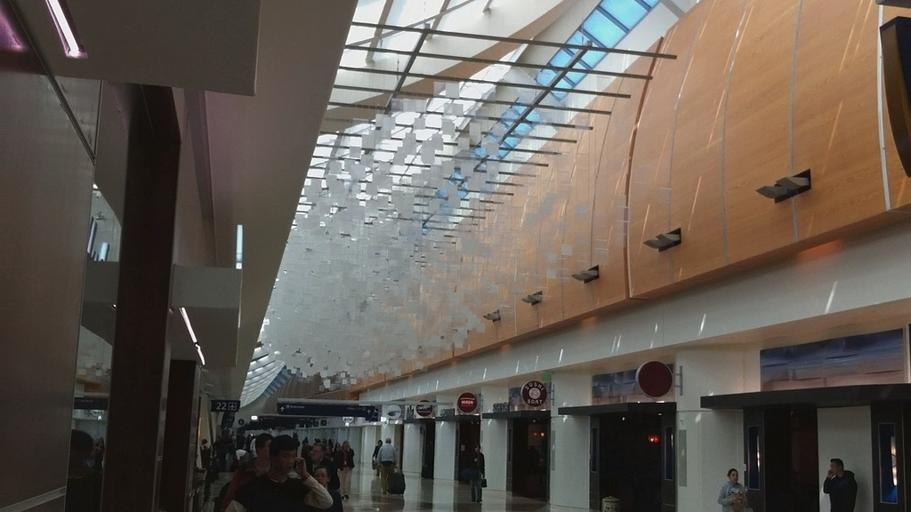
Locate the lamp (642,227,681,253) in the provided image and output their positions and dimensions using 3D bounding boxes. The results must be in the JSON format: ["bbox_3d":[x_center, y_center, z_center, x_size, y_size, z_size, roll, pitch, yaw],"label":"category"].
[{"bbox_3d":[4.539,-0.319,15.763,0.429,0.327,0.785,14,-18,-15],"label":"lamp"}]

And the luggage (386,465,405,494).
[{"bbox_3d":[-2.056,7.665,24.657,0.509,0.720,0.571,-1,-18,6],"label":"luggage"}]

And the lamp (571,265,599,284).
[{"bbox_3d":[3.420,0.498,19.275,0.365,0.370,1.080,6,-18,-15],"label":"lamp"}]

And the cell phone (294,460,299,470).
[{"bbox_3d":[-1.658,2.151,7.533,0.034,0.105,0.076,7,7,5],"label":"cell phone"}]

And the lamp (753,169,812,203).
[{"bbox_3d":[5.684,-1.201,12.673,0.455,0.375,1.180,6,-7,-2],"label":"lamp"}]
